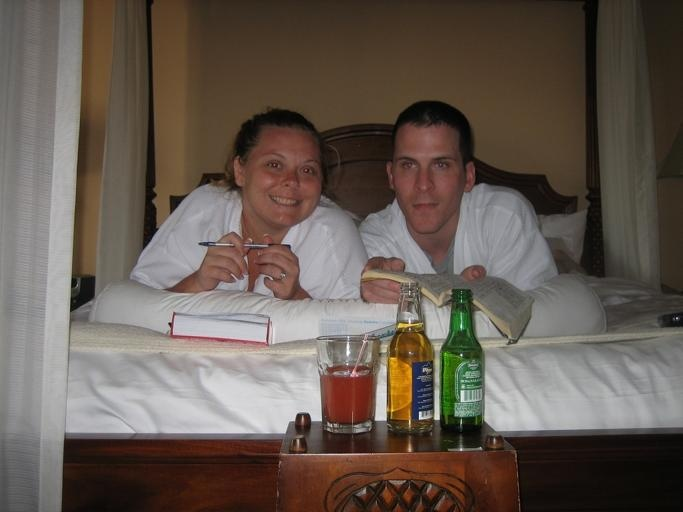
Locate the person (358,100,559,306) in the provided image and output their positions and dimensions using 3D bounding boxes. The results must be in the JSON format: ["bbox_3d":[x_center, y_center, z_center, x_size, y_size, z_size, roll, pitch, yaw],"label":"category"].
[{"bbox_3d":[0.368,-0.154,2.110,0.840,0.744,0.612,5,13,31],"label":"person"}]

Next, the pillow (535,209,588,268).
[{"bbox_3d":[0.998,-0.118,2.729,0.255,0.231,0.083,4,0,4],"label":"pillow"}]

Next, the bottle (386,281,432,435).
[{"bbox_3d":[0.111,0.167,0.955,0.076,0.245,0.046,-1,-7,3],"label":"bottle"}]

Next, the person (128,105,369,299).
[{"bbox_3d":[-0.265,-0.112,1.956,0.876,0.687,0.493,8,7,-5],"label":"person"}]

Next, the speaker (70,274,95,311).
[{"bbox_3d":[-1.188,0.155,2.601,0.093,0.114,0.173,-1,8,-8],"label":"speaker"}]

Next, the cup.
[{"bbox_3d":[0.026,0.206,0.987,0.114,0.165,0.114,-6,11,1],"label":"cup"}]
